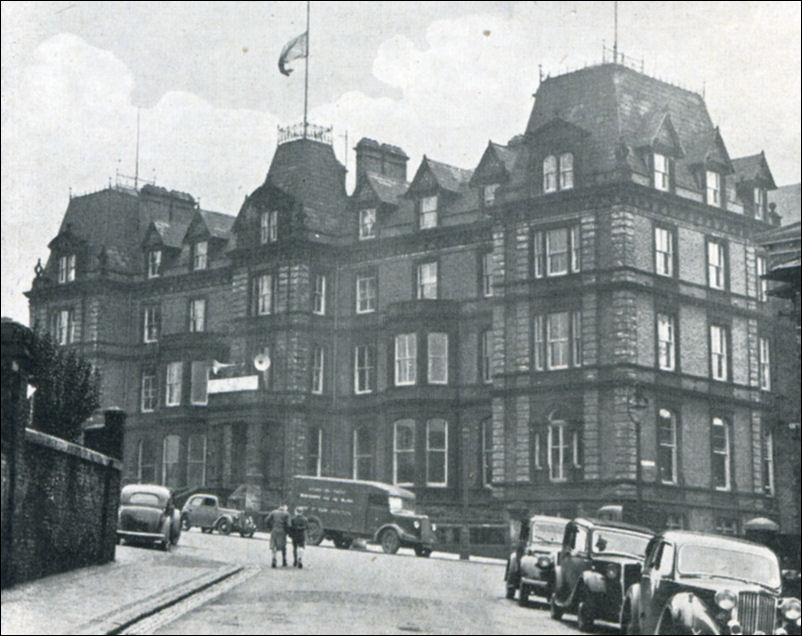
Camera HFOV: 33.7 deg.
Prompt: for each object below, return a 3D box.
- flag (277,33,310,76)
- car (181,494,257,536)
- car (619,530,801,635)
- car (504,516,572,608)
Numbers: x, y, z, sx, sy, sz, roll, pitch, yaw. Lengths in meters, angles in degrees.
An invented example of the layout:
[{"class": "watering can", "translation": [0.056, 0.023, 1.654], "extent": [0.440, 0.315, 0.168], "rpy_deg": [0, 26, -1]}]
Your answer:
[{"class": "flag", "translation": [-5.520, -13.336, 67.187], "extent": [1.408, 2.348, 1.391], "rpy_deg": [1, -11, 7]}, {"class": "car", "translation": [-7.913, 8.303, 56.303], "extent": [4.273, 1.926, 1.492], "rpy_deg": [-9, -16, 40]}, {"class": "car", "translation": [6.137, 5.191, 26.140], "extent": [3.108, 2.084, 2.061], "rpy_deg": [-2, -12, 17]}, {"class": "car", "translation": [3.486, 6.141, 33.229], "extent": [1.059, 1.303, 2.435], "rpy_deg": [15, -14, 2]}]
